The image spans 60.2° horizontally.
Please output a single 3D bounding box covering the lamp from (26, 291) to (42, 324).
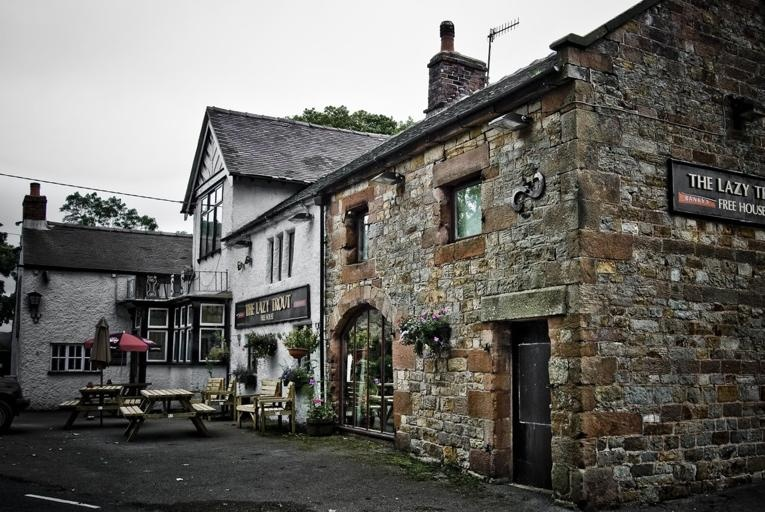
[{"bbox_3d":[-13.174,1.944,24.928,0.532,1.189,0.522,2,-3,-37],"label":"lamp"}]

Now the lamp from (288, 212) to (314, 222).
[{"bbox_3d":[-2.119,-1.025,17.020,0.464,0.253,0.509,2,-3,-32],"label":"lamp"}]

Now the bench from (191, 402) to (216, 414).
[{"bbox_3d":[-4.285,3.646,15.645,0.474,0.247,0.589,1,-3,-17],"label":"bench"}]

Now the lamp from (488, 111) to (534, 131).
[{"bbox_3d":[2.201,-2.347,11.384,0.643,0.268,0.331,1,-3,-19],"label":"lamp"}]

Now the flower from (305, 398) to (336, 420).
[{"bbox_3d":[-1.497,3.733,15.786,0.520,0.421,0.587,16,-23,-34],"label":"flower"}]

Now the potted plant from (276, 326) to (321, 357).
[{"bbox_3d":[-2.053,2.132,16.519,0.634,0.805,0.906,1,-3,-26],"label":"potted plant"}]

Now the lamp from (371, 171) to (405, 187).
[{"bbox_3d":[0.105,-1.694,14.085,0.473,0.353,0.590,2,-4,-37],"label":"lamp"}]

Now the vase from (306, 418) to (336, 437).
[{"bbox_3d":[-1.469,4.040,15.567,0.445,0.273,0.434,6,-11,-34],"label":"vase"}]
